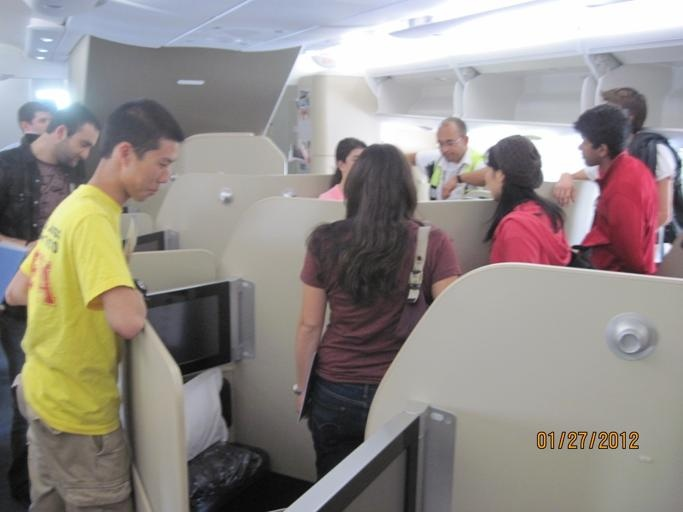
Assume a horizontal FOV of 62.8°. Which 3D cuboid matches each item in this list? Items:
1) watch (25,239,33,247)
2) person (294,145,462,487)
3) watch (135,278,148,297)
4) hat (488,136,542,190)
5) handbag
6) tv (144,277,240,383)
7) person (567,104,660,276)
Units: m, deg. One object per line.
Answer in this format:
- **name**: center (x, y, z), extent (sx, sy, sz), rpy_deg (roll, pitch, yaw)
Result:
- **watch**: center (-1.537, -0.061, 2.746), extent (0.036, 0.040, 0.038), rpy_deg (8, -9, -44)
- **person**: center (0.097, 0.412, 2.015), extent (0.503, 1.543, 0.506), rpy_deg (1, 12, -3)
- **watch**: center (-0.664, 0.102, 1.851), extent (0.045, 0.067, 0.025), rpy_deg (0, 21, 47)
- **hat**: center (0.706, -0.376, 2.316), extent (0.175, 0.229, 0.164), rpy_deg (-23, 0, -25)
- **handbag**: center (0.231, 0.084, 1.722), extent (0.151, 0.284, 0.063), rpy_deg (6, 6, 27)
- **tv**: center (-0.601, 0.286, 2.240), extent (0.428, 0.444, 0.045), rpy_deg (-4, 13, -43)
- **person**: center (1.203, -0.306, 2.476), extent (0.373, 0.736, 0.292), rpy_deg (6, 6, 29)
